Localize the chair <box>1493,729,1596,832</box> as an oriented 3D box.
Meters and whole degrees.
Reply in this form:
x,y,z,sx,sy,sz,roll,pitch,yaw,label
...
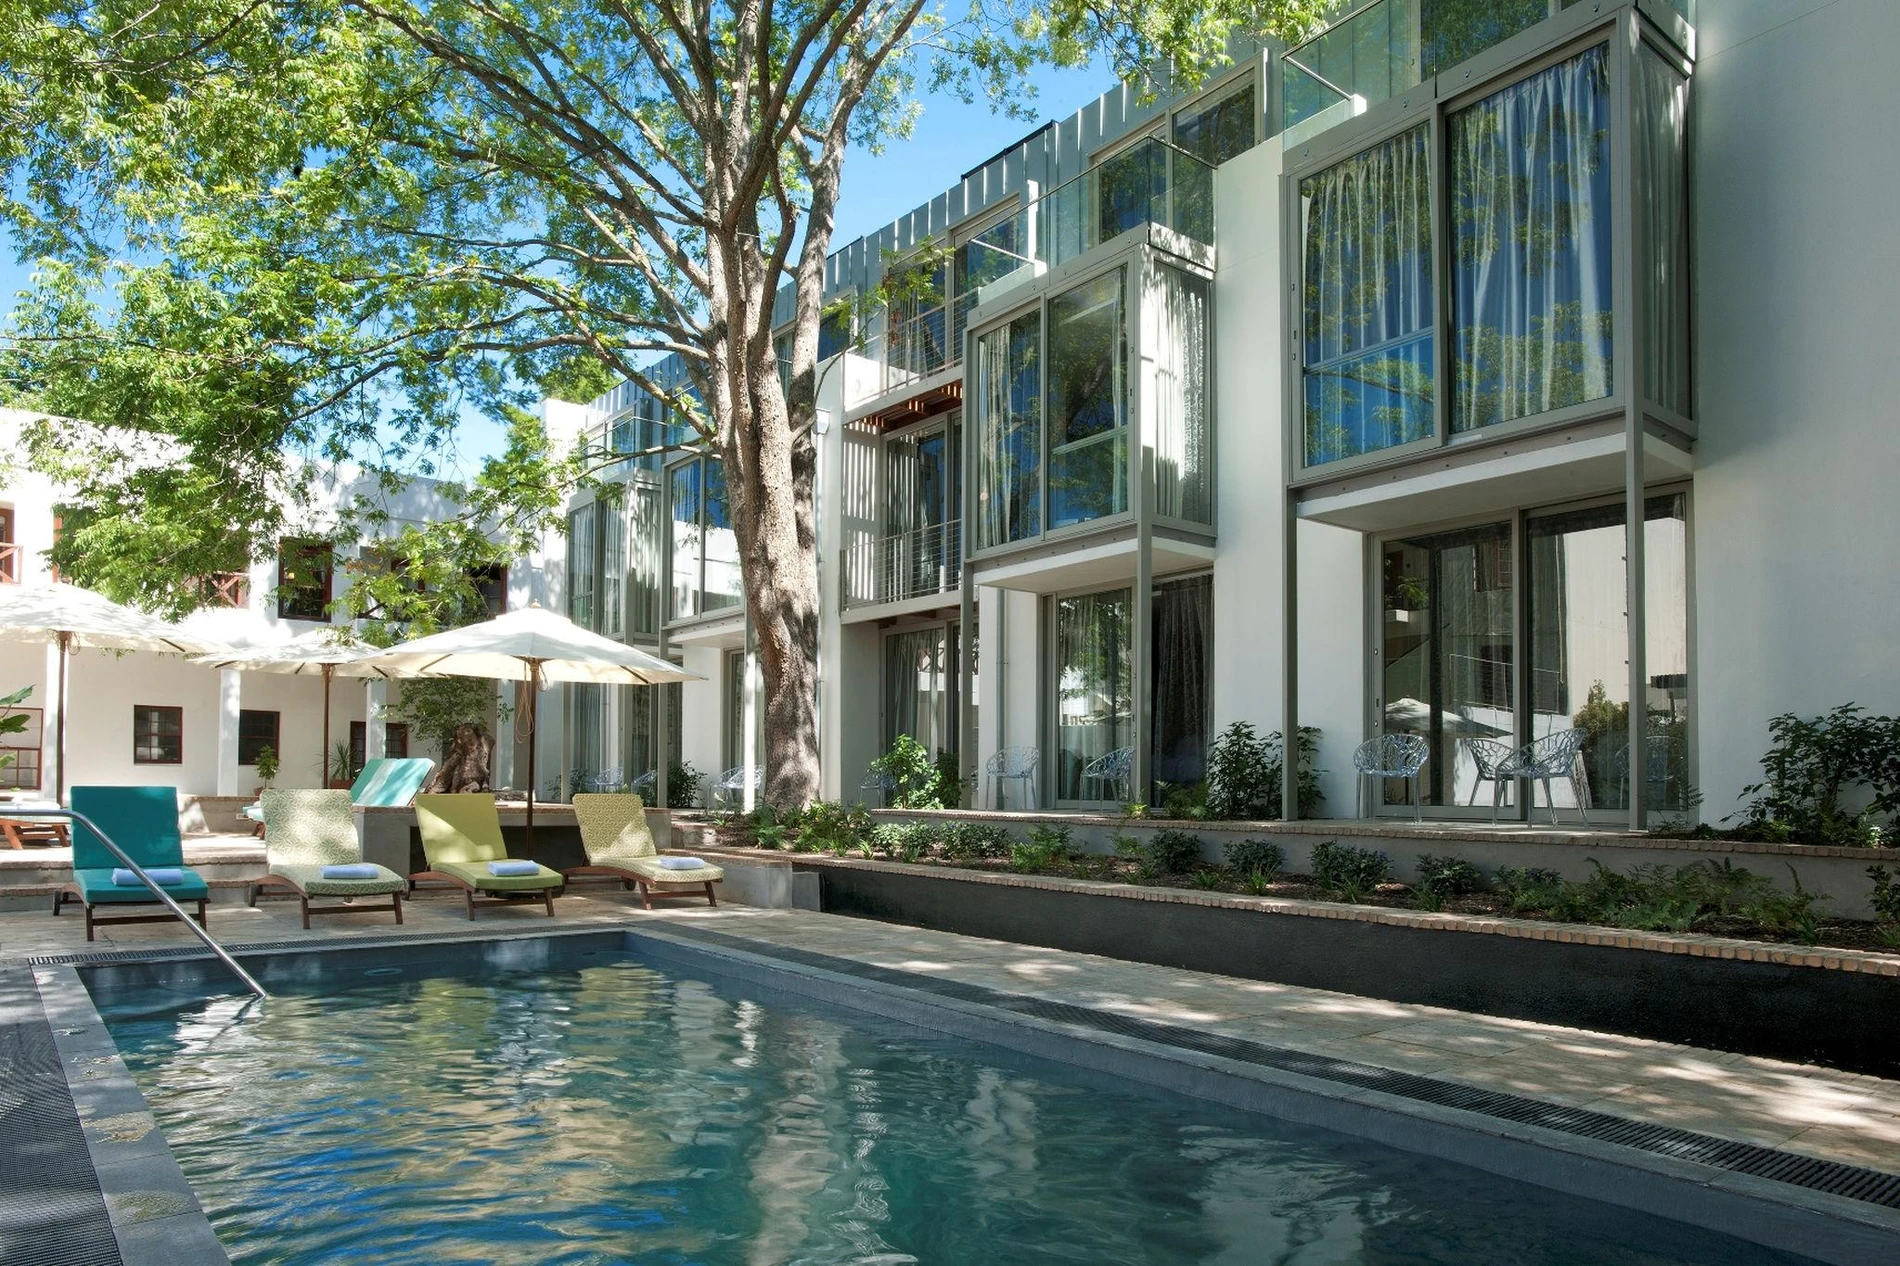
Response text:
x,y,z,sx,sy,sz,roll,pitch,yaw,label
5.557,1.358,13.137,0.855,0.984,0.968,0,-6,1,chair

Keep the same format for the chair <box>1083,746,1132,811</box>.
x,y,z,sx,sy,sz,roll,pitch,yaw,label
1.948,1.742,17.219,0.615,0.794,0.668,5,-8,-21,chair

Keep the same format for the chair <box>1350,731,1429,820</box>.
x,y,z,sx,sy,sz,roll,pitch,yaw,label
4.345,1.449,14.482,0.939,1.131,0.864,-4,-9,32,chair

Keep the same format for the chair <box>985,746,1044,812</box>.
x,y,z,sx,sy,sz,roll,pitch,yaw,label
0.904,1.931,18.588,0.854,1.065,0.710,-4,-9,28,chair

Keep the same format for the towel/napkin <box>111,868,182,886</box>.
x,y,z,sx,sy,sz,roll,pitch,yaw,label
-6.795,2.055,11.995,0.519,0.150,0.720,4,-10,-32,towel/napkin

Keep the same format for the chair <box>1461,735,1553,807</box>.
x,y,z,sx,sy,sz,roll,pitch,yaw,label
5.215,1.266,13.327,0.835,0.816,0.660,4,-12,-39,chair

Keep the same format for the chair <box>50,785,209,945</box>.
x,y,z,sx,sy,sz,roll,pitch,yaw,label
-7.135,1.941,12.343,0.941,1.021,1.553,2,3,-37,chair

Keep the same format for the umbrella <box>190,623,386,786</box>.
x,y,z,sx,sy,sz,roll,pitch,yaw,label
-12.065,1.303,25.464,2.988,2.369,2.851,2,-12,-15,umbrella

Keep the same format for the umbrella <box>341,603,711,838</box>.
x,y,z,sx,sy,sz,roll,pitch,yaw,label
-4.659,0.989,15.690,2.842,1.907,2.912,7,-10,-43,umbrella
